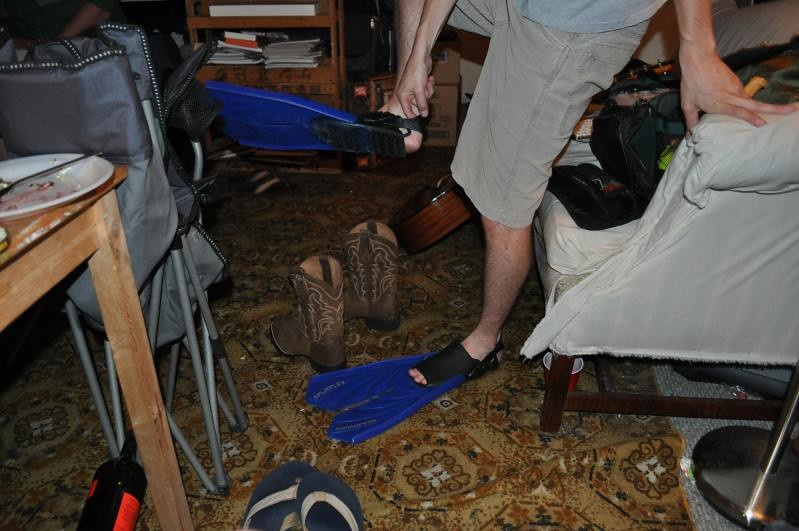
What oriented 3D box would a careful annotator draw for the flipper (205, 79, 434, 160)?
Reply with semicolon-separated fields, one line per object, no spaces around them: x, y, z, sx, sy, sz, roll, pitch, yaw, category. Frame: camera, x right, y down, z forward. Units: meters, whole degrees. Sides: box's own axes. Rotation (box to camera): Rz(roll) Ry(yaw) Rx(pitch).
-0.234;-0.431;1.650;0.652;0.251;0.121;8;60;-11;flipper

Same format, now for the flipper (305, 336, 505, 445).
0.031;0.444;1.899;0.655;0.114;0.303;-19;29;-20;flipper

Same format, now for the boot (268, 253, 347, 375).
-0.348;0.173;2.025;0.210;0.381;0.436;-17;23;-41;boot
